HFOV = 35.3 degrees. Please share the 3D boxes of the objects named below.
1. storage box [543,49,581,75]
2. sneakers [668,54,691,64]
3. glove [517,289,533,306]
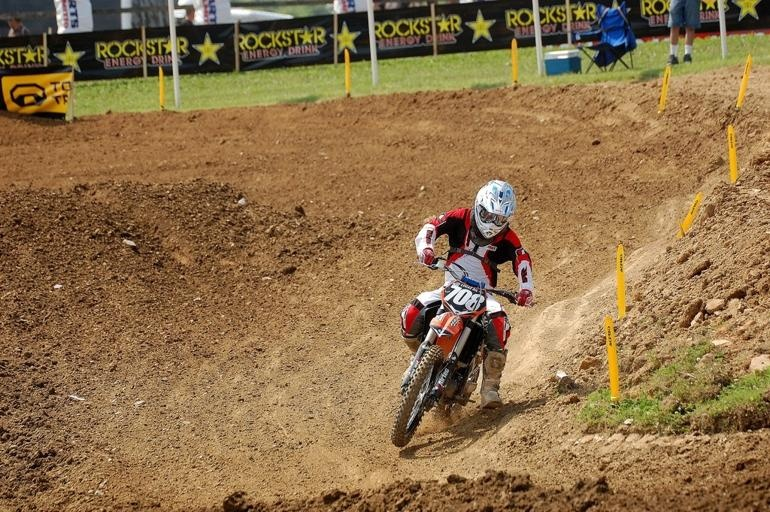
[{"bbox_3d":[4.659,-5.064,31.697,0.740,0.657,0.764,-1,6,17],"label":"storage box"},{"bbox_3d":[7.318,-4.875,30.145,0.657,0.284,0.227,1,-1,-12],"label":"sneakers"},{"bbox_3d":[2.394,0.724,20.753,0.249,0.271,0.115,8,-3,6],"label":"glove"}]
